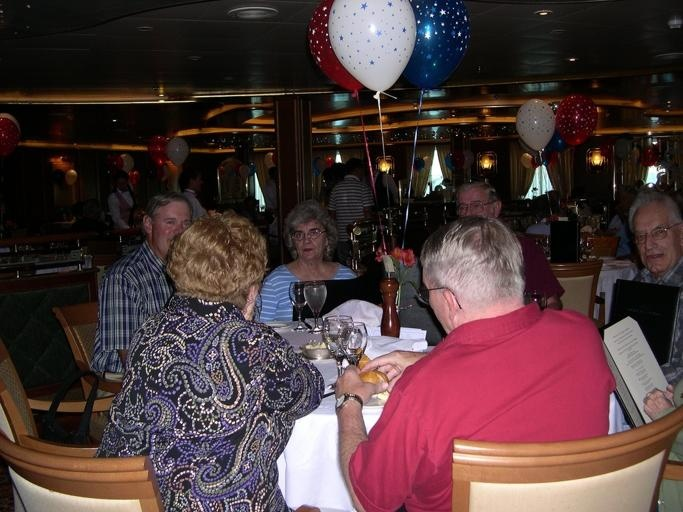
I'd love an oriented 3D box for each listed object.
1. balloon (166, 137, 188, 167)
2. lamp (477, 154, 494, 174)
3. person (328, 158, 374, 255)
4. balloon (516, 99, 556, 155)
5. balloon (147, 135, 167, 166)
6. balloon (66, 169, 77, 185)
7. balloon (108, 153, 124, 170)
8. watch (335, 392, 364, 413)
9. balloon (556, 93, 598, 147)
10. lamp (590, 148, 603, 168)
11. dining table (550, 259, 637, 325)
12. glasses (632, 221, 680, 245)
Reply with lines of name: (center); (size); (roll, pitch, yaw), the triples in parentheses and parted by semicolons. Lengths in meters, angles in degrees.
balloon: (-2.694, -1.729, 9.370); (0.318, 0.444, 0.470); (-5, 8, -17)
lamp: (4.724, -3.000, 18.464); (0.578, 0.647, 0.137); (-5, 7, -12)
person: (0.097, -0.623, 8.494); (0.621, 2.040, 0.622); (-2, 46, -4)
balloon: (2.169, -1.473, 6.367); (0.392, 0.573, 0.443); (0, 8, 22)
balloon: (-3.346, -1.957, 10.442); (0.312, 0.524, 0.929); (-5, 8, -18)
balloon: (-5.962, -1.736, 12.593); (0.246, 0.352, 0.435); (-6, 8, -25)
balloon: (-4.671, -1.950, 11.753); (0.323, 0.412, 0.331); (-6, 18, -30)
watch: (0.023, 0.421, 1.655); (0.065, 0.072, 0.044); (24, 24, -22)
balloon: (2.719, -1.557, 6.643); (0.473, 0.685, 0.532); (0, 3, 10)
lamp: (7.718, -2.954, 17.112); (0.355, 0.562, 1.080); (0, 8, 23)
dining table: (1.457, 0.206, 3.345); (0.331, 0.508, 0.376); (1, 28, 8)
glasses: (1.440, -0.100, 2.577); (0.186, 0.098, 0.076); (-2, 7, 12)
